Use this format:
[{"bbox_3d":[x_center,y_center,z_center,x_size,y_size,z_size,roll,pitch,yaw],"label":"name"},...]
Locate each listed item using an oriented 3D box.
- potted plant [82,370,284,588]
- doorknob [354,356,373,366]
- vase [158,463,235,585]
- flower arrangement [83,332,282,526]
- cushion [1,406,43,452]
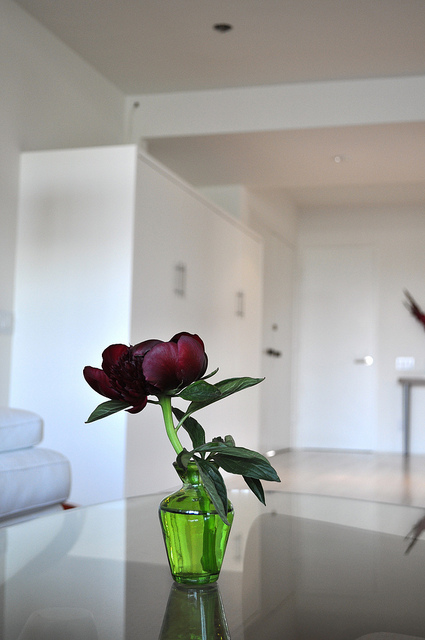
[{"bbox_3d":[-0.032,0.187,0.639,0.251,0.225,0.188,1,-7,-12],"label":"potted plant"},{"bbox_3d":[1.768,0.446,6.355,0.202,0.119,0.123,4,-21,21],"label":"doorknob"},{"bbox_3d":[-0.017,0.232,0.632,0.091,0.125,0.080,0,-13,2],"label":"vase"},{"bbox_3d":[-0.014,0.122,0.634,0.203,0.218,0.291,-2,-14,18],"label":"flower arrangement"},{"bbox_3d":[-0.689,0.389,1.895,0.105,0.137,0.192,0,-14,12],"label":"cushion"}]
